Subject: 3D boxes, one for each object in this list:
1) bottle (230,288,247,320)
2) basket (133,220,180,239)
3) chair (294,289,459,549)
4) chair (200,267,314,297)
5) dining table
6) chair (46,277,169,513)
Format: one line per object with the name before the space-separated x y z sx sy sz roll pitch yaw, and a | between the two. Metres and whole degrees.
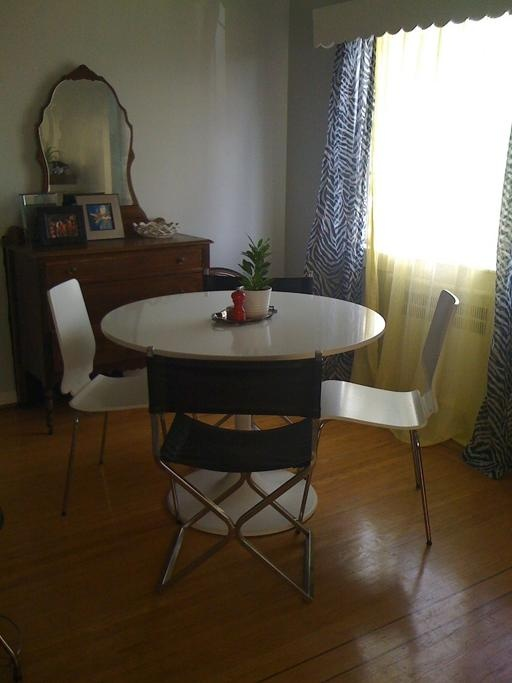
bottle | -0.061 -0.132 1.823 0.048 0.108 0.101 0 11 -3
basket | -0.613 -0.684 3.097 0.166 0.061 0.172 -4 23 -14
chair | 0.410 0.247 1.891 0.534 0.883 0.511 2 11 5
chair | -0.011 -0.290 2.489 0.412 0.168 0.317 9 11 6
dining table | -0.039 0.284 1.824 0.869 0.694 0.925 4 16 11
chair | -0.500 0.214 2.015 0.498 0.835 0.511 2 10 10
